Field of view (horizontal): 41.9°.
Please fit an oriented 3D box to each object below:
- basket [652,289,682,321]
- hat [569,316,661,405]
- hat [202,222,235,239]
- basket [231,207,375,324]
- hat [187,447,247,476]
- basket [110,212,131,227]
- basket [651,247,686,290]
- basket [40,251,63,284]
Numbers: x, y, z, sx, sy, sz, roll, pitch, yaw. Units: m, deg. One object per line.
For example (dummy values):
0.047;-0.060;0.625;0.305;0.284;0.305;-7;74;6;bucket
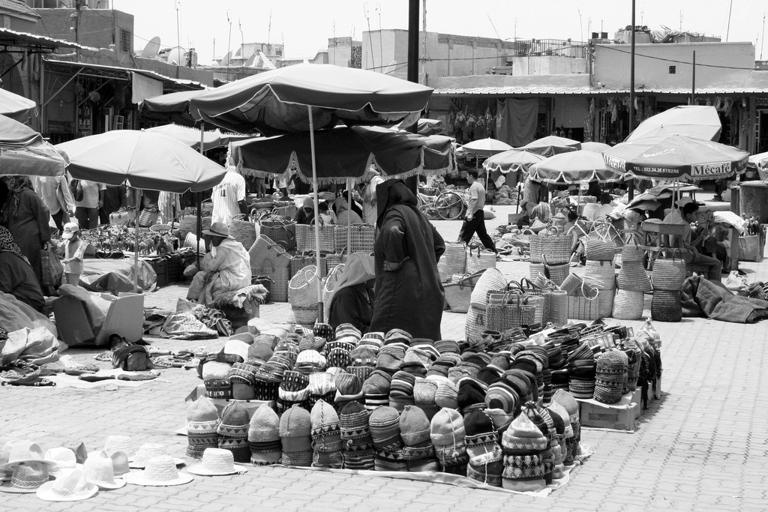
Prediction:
4.307;0.756;15.417;0.446;0.438;0.450;0;-1;-3;basket
2.569;1.206;11.261;0.744;0.778;1.180;4;6;30;hat
-2.408;-0.375;14.394;0.389;0.154;0.354;4;2;8;hat
-1.243;0.180;15.098;1.587;1.002;1.606;6;10;33;basket
-1.634;1.976;9.687;0.330;0.109;0.336;-1;2;18;hat
-5.528;-0.783;20.952;0.427;0.285;0.435;-1;-1;-2;basket
4.400;0.191;15.429;0.643;0.898;0.655;1;3;19;basket
-4.620;0.160;13.836;0.168;0.441;0.433;-1;-5;17;basket
